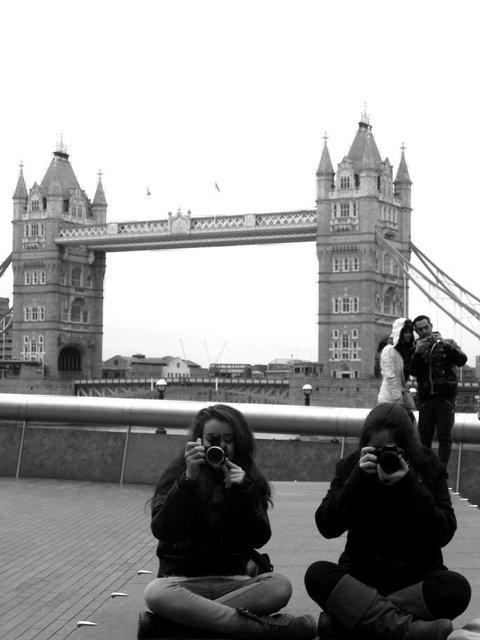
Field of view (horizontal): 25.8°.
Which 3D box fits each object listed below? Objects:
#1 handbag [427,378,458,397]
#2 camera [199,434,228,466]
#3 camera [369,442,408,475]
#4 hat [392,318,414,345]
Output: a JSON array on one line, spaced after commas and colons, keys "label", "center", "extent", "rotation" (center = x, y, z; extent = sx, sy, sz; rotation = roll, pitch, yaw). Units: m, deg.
[{"label": "handbag", "center": [1.260, 0.413, 6.498], "extent": [0.120, 0.117, 0.053], "rotation": [-2, 2, 6]}, {"label": "camera", "center": [-0.091, 0.411, 3.354], "extent": [0.089, 0.108, 0.078], "rotation": [2, -7, -4]}, {"label": "camera", "center": [0.459, 0.428, 3.249], "extent": [0.088, 0.103, 0.077], "rotation": [2, -15, -1]}, {"label": "hat", "center": [1.093, 0.083, 7.150], "extent": [0.122, 0.186, 0.168], "rotation": [2, -21, -18]}]
